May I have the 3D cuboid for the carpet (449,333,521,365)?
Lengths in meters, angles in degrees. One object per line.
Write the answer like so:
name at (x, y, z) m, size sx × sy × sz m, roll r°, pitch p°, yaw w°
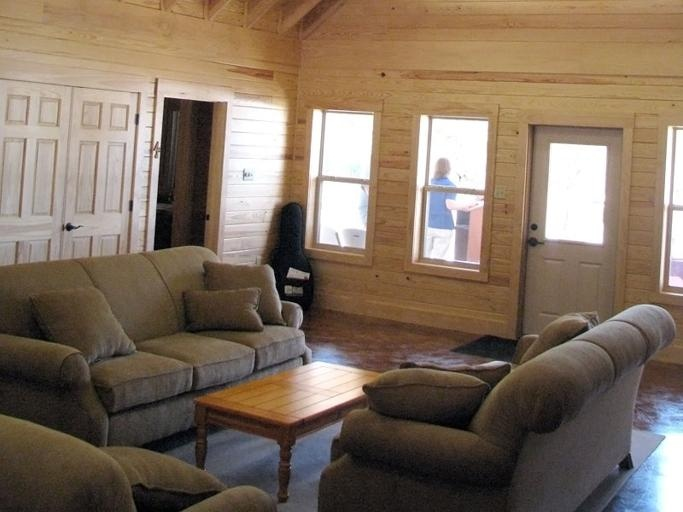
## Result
carpet at (1.639, 1.026, 6.289) m, size 0.483 × 0.104 × 0.512 m, roll 2°, pitch 5°, yaw 37°

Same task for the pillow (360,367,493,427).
pillow at (0.389, 0.633, 2.583) m, size 0.383 × 0.140 × 0.363 m, roll 5°, pitch 4°, yaw 29°

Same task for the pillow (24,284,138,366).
pillow at (-1.683, 0.439, 3.674) m, size 0.417 × 0.430 × 0.463 m, roll 6°, pitch 6°, yaw 22°
